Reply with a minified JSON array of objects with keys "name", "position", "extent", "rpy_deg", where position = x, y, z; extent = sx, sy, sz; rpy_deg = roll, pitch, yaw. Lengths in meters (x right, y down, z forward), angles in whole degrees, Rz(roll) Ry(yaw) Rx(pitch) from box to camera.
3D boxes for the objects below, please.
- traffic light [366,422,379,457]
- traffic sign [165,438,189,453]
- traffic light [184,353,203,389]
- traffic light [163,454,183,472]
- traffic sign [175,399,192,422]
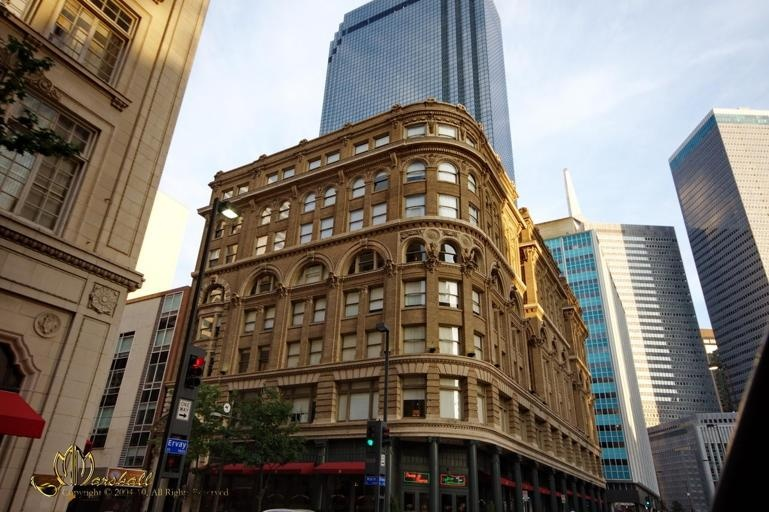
[{"name":"traffic light","position":[-0.531,9.609,26.361],"extent":[0.746,1.809,0.655],"rpy_deg":[-3,-32,8]},{"name":"traffic sign","position":[-8.336,7.588,20.096],"extent":[0.105,0.431,0.726],"rpy_deg":[-24,-34,23]},{"name":"traffic light","position":[-7.986,4.855,21.153],"extent":[0.593,1.369,0.638],"rpy_deg":[10,-33,-13]},{"name":"traffic light","position":[-8.361,8.237,19.929],"extent":[0.239,0.706,0.719],"rpy_deg":[-21,-38,32]},{"name":"traffic sign","position":[-8.338,6.407,20.831],"extent":[0.142,1.068,0.829],"rpy_deg":[-21,-34,38]}]
